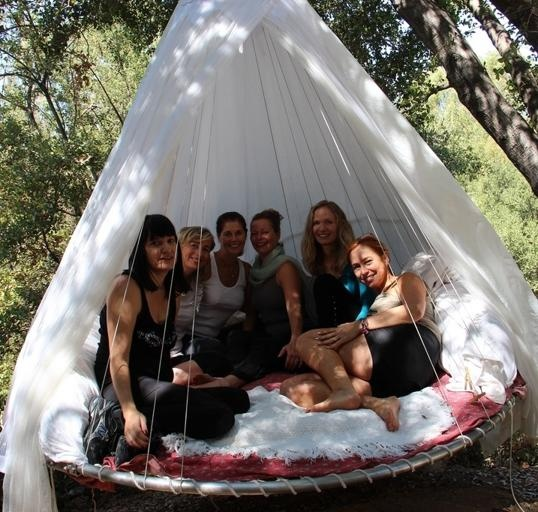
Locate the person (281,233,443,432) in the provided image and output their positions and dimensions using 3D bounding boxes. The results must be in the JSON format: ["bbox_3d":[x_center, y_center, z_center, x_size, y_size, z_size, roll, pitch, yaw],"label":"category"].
[{"bbox_3d":[0.514,0.371,2.307,0.854,0.996,0.829,-1,-16,-17],"label":"person"}]

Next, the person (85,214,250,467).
[{"bbox_3d":[-0.641,0.302,2.248,0.899,1.320,0.987,-2,1,3],"label":"person"}]
